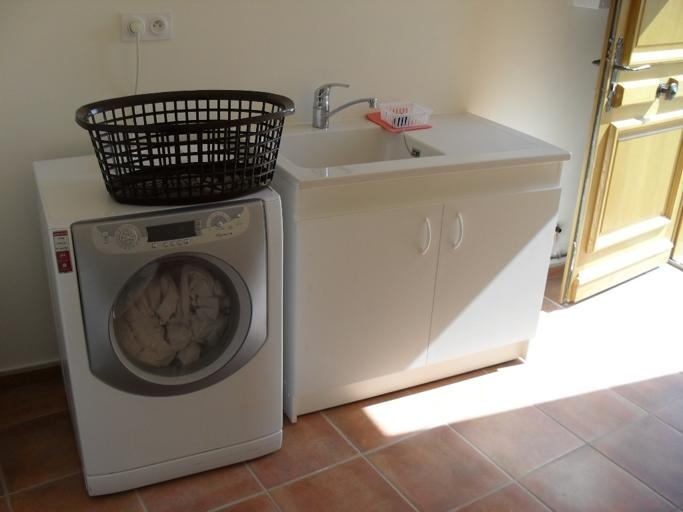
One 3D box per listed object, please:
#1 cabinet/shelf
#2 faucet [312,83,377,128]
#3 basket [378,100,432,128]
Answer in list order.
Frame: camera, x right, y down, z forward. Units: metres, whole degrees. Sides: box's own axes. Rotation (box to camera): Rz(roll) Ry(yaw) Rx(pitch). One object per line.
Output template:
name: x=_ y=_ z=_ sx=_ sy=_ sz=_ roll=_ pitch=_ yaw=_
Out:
cabinet/shelf: x=0.273 y=0.032 z=2.457 sx=1.277 sy=1.079 sz=0.724 roll=-8 pitch=25 yaw=-22
faucet: x=0.002 y=-0.687 z=2.261 sx=0.277 sy=0.206 sz=0.151 roll=14 pitch=31 yaw=27
basket: x=0.314 y=-0.704 z=2.439 sx=0.271 sy=0.094 sz=0.250 roll=-3 pitch=29 yaw=-5
